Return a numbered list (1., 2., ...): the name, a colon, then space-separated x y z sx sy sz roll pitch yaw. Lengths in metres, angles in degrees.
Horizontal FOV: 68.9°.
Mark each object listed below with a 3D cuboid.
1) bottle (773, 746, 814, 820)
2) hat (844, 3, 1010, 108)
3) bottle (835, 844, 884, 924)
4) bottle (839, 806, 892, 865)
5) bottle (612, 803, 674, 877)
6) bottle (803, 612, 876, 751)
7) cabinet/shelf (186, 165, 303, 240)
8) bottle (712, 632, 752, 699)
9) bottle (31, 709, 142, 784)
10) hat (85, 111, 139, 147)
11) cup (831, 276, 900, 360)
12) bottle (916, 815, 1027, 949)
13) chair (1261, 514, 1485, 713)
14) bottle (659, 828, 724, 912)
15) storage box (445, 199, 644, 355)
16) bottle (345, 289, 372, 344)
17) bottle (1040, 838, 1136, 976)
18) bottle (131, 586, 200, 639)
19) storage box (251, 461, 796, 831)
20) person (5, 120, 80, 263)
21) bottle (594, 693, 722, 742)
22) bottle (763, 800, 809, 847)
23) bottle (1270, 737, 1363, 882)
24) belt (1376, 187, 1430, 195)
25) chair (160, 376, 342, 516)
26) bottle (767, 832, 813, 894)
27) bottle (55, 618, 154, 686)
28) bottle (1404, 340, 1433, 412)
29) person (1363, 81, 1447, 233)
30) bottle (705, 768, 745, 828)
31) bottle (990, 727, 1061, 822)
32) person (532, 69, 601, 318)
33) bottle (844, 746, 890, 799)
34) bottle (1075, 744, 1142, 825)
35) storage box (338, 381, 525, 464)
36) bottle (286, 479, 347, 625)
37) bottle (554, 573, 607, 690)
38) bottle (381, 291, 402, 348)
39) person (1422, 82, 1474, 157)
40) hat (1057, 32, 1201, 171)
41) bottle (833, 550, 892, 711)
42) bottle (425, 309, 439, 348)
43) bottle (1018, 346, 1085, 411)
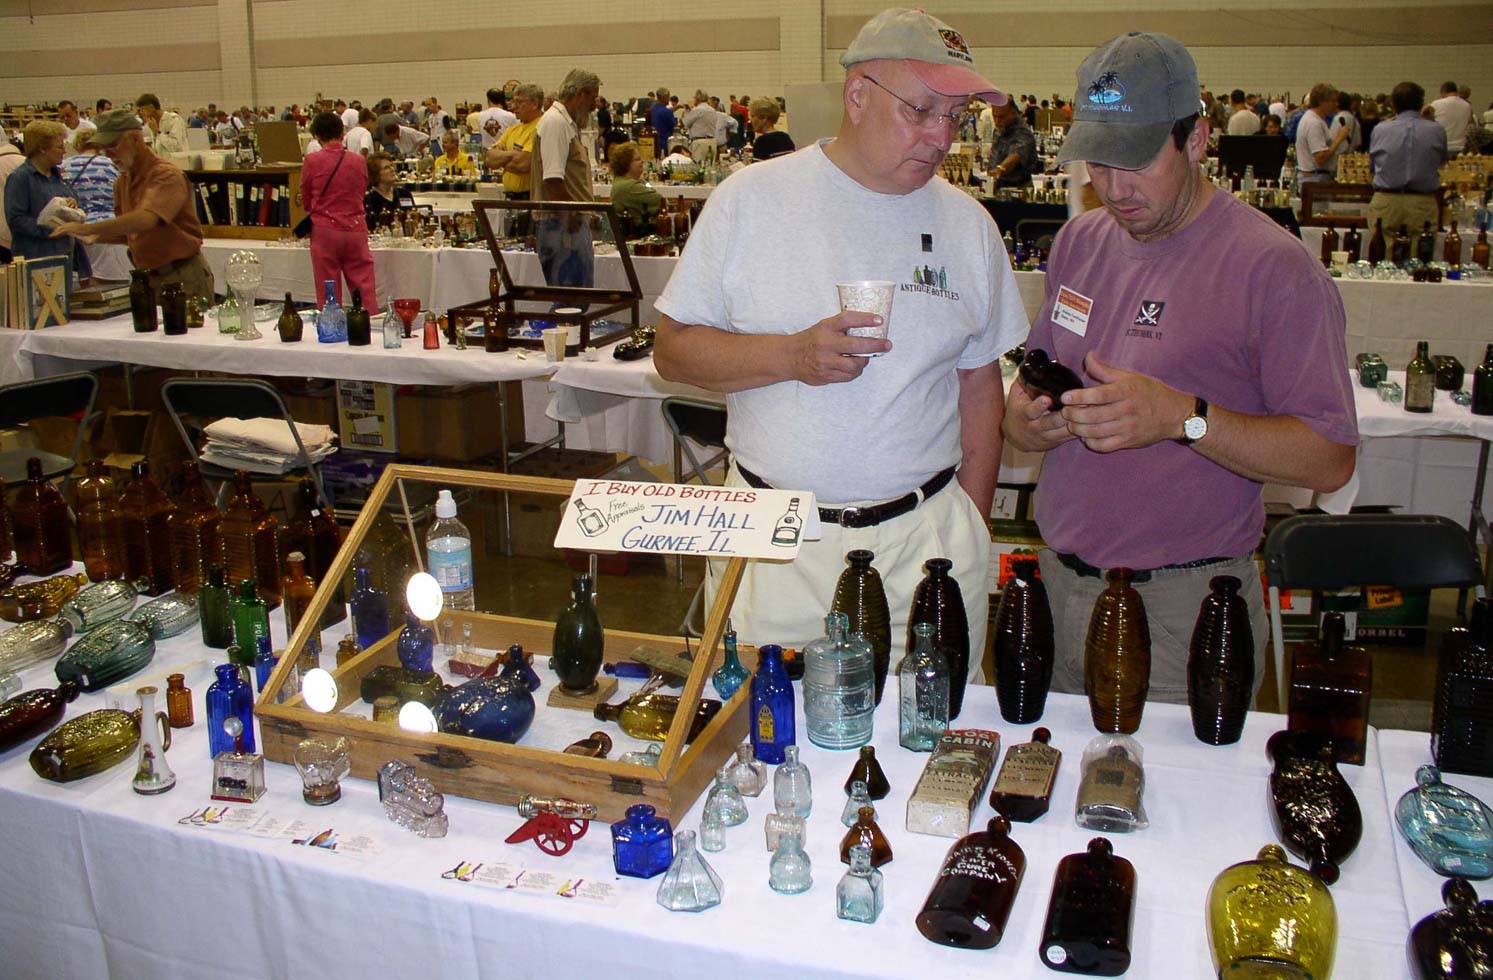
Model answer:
1. bottle: 0.094 0.584 2.176 0.075 0.138 0.078 -1 -7 0
2. hat: 0.436 -1.077 2.621 0.346 0.183 0.238 12 22 18
3. bottle: 0.209 0.731 1.972 0.074 0.129 0.076 5 -21 2
4. bottle: 0.227 0.642 2.085 0.103 0.101 0.108 -1 4 -1
5. bottle: -0.200 0.669 2.085 0.116 0.119 0.123 0 1 2
6. bottle: 0.208 0.417 2.415 0.149 0.286 0.166 -3 4 -2
7. cabinet/shelf: -4.795 -2.774 10.401 1.091 0.622 0.365 2 19 11
8. bottle: -0.043 0.381 2.423 0.110 0.163 0.115 0 7 0
9. bottle: -1.454 0.561 2.392 0.195 0.099 0.267 6 8 1
10. hat: -3.696 -2.161 6.374 0.162 0.125 0.234 1 24 2
11. cup: 0.252 -0.418 2.520 0.156 0.182 0.170 7 20 -2
12. bottle: 0.437 0.712 2.007 0.155 0.100 0.302 -3 21 30
13. chair: 1.852 0.341 3.307 0.481 0.500 0.427 -1 8 10
14. bottle: -0.107 0.703 2.009 0.117 0.121 0.125 -3 -6 1
15. storage box: -1.039 -1.150 5.653 0.822 0.729 0.676 6 15 21
16. bottle: -2.062 -0.938 5.770 0.116 0.279 0.300 -6 13 -19
17. bottle: 0.613 0.730 1.930 0.145 0.160 0.237 3 13 23
18. bottle: -1.513 0.307 2.842 0.132 0.068 0.102 -9 27 -39
19. storage box: -0.514 0.336 2.556 0.906 0.560 0.774 7 30 12
20. person: -4.721 -2.007 7.239 0.423 0.971 1.070 -8 14 -30
21. bottle: -0.196 0.473 2.330 0.193 0.063 0.107 1 34 21
22. bottle: 0.075 0.630 2.064 0.074 0.081 0.077 0 1 8
23. bottle: 1.108 0.615 2.127 0.152 0.096 0.336 -8 33 21
24. belt: 5.164 -2.387 8.507 0.399 0.063 0.144 -1 13 6
25. chair: -2.221 -0.212 4.865 0.423 0.779 0.592 4 30 4
26. bottle: 0.083 0.701 2.035 0.093 0.112 0.097 -2 -21 -3
27. bottle: -1.550 0.402 2.644 0.132 0.074 0.189 19 27 16
28. bottle: 2.926 -0.508 4.716 0.111 0.296 0.209 5 14 33
29. person: 5.151 -2.632 8.477 0.508 1.190 0.884 5 13 31
30. bottle: -0.037 0.617 2.149 0.083 0.096 0.087 4 18 28
31. bottle: 0.588 0.581 2.243 0.120 0.079 0.253 1 27 28
32. person: -1.294 -2.174 8.227 0.515 1.939 0.809 4 29 1
33. bottle: 0.250 0.578 2.246 0.094 0.097 0.099 -1 10 3
34. bottle: 0.745 0.582 2.191 0.134 0.066 0.192 -3 42 28
35. storage box: -1.778 -0.401 6.051 0.720 0.389 0.550 7 16 19
36. bottle: -1.186 0.175 2.985 0.135 0.409 0.142 0 8 0
37. bottle: -0.387 0.328 2.509 0.124 0.247 0.129 4 6 0
38. bottle: -1.854 -0.898 5.695 0.104 0.248 0.260 -5 12 -17
39. person: 7.780 -3.942 12.069 0.389 1.272 0.399 1 30 24
40. hat: 0.890 -0.955 2.563 0.289 0.230 0.460 15 43 35
41. bottle: 0.266 0.333 2.527 0.202 0.332 0.213 -1 6 0
42. bottle: -1.635 -0.851 5.641 0.088 0.178 0.217 -5 13 -16
43. bottle: 0.704 -0.257 2.516 0.131 0.143 0.161 1 13 16
